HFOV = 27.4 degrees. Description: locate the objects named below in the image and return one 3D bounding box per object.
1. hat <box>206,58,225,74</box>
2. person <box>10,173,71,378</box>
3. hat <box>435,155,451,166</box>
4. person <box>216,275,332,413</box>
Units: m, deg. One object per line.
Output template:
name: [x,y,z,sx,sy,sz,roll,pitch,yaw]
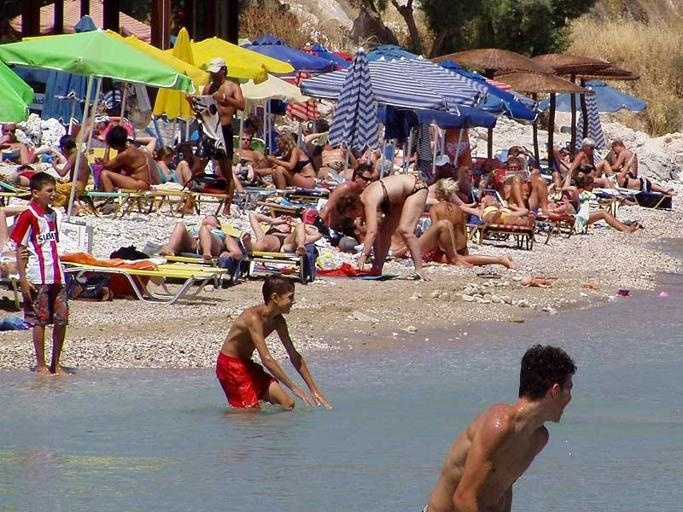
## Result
hat: [-1.995,-3.057,22.446,0.278,0.264,0.449,2,3,-6]
person: [-3.241,0.181,15.215,0.452,2.143,0.673,0,2,25]
hat: [1.934,-1.875,27.205,0.313,0.214,0.412,-2,-4,21]
person: [-0.734,1.170,14.742,1.215,1.931,0.747,4,6,14]
